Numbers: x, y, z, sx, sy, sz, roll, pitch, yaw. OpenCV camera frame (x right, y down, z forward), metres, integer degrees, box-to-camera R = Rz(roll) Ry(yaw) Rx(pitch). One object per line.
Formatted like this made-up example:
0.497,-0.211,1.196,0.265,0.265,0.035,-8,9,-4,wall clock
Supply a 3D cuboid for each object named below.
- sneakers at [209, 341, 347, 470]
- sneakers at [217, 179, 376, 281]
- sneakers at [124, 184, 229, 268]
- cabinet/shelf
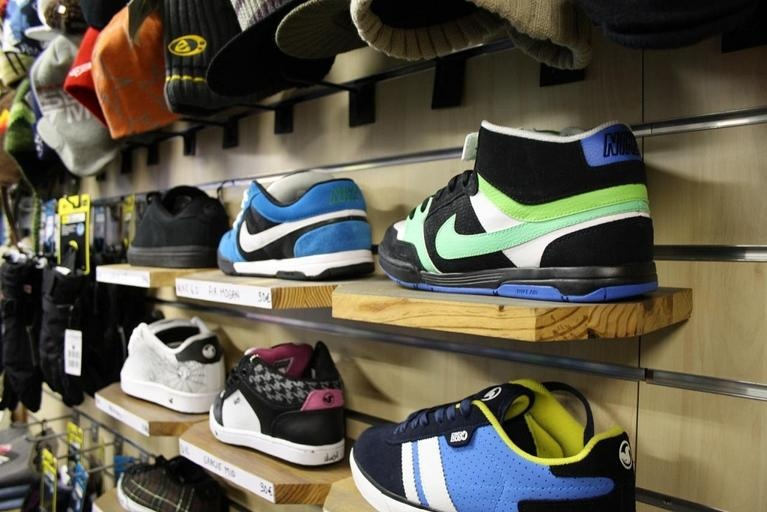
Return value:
-0.314,0.415,1.711,0.492,0.284,0.272,1,-1,38,sneakers
-0.300,-0.090,1.778,0.281,0.300,0.633,-7,5,-43,sneakers
-0.645,-0.097,1.880,0.216,0.180,0.378,1,1,-32,sneakers
-0.162,-0.229,1.714,1.737,0.713,0.601,6,5,43,cabinet/shelf
